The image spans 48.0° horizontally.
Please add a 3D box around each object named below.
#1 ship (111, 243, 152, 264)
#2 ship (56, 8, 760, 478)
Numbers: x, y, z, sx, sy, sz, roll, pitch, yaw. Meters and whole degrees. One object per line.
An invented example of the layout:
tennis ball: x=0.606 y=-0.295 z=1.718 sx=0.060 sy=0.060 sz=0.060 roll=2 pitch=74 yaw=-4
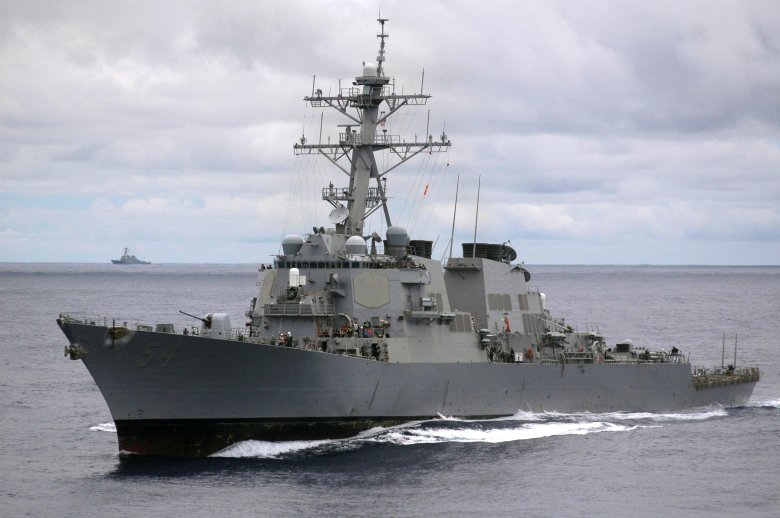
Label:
ship: x=-78.342 y=0.191 z=262.256 sx=3.309 sy=5.307 sz=14.176 roll=-1 pitch=-5 yaw=28
ship: x=1.213 y=4.469 z=39.923 sx=38.945 sy=9.607 sz=22.992 roll=4 pitch=-16 yaw=-39
